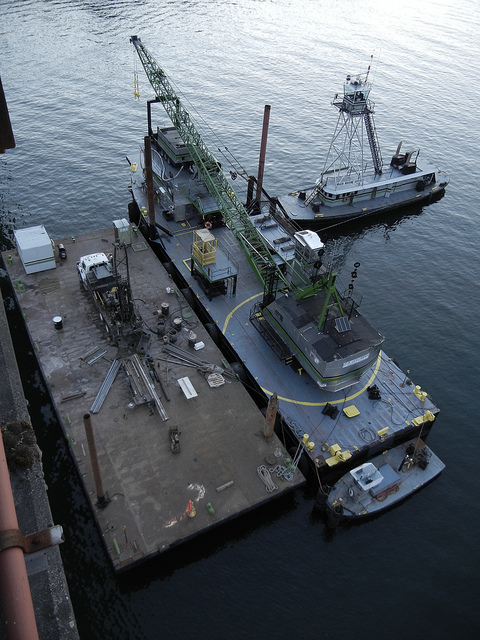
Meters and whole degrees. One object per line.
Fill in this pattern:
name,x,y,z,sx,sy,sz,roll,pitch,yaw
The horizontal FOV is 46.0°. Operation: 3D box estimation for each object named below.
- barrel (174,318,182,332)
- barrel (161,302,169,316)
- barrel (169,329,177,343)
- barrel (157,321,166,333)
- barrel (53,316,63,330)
barrel,-5.567,0.504,51.442,0.697,1.043,1.246,1,39,-6
barrel,-6.840,-1.006,52.541,0.690,1.444,1.161,1,39,-7
barrel,-5.896,1.474,50.384,0.682,0.882,0.880,2,39,-6
barrel,-7.058,0.674,51.065,0.706,0.971,0.935,5,63,-12
barrel,-16.109,0.344,50.225,0.651,0.969,0.646,9,59,-15
